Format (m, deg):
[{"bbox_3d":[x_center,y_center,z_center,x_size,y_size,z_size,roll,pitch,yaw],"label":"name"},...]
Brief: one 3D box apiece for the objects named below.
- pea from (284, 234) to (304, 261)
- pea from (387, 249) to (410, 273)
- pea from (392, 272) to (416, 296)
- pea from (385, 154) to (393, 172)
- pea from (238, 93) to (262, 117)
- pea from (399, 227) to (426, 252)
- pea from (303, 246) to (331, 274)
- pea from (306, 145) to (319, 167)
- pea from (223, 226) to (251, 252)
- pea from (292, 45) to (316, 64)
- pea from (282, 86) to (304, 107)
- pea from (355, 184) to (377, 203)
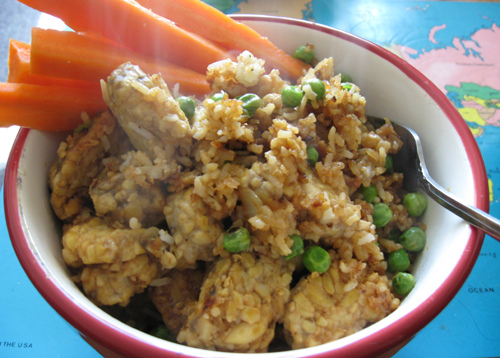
[{"bbox_3d":[0.228,0.350,2.556,0.092,0.039,0.117,22,96,-6],"label":"pea"},{"bbox_3d":[0.773,0.429,2.628,0.090,0.122,0.094,3,101,1],"label":"pea"},{"bbox_3d":[0.780,0.537,2.568,0.143,0.111,0.114,-3,80,-12],"label":"pea"},{"bbox_3d":[0.779,-0.092,2.814,0.060,0.029,0.080,-9,105,-24],"label":"pea"},{"bbox_3d":[0.006,-0.395,2.606,0.097,0.047,0.120,3,65,9],"label":"pea"},{"bbox_3d":[0.863,0.331,2.699,0.137,0.141,0.070,-1,95,19],"label":"pea"},{"bbox_3d":[0.343,0.408,2.557,0.112,0.071,0.135,-10,71,9],"label":"pea"},{"bbox_3d":[0.323,-0.120,2.605,0.065,0.068,0.087,-17,115,16],"label":"pea"},{"bbox_3d":[-0.063,0.300,2.490,0.117,0.067,0.121,-26,57,-6],"label":"pea"},{"bbox_3d":[0.321,-0.736,3.014,0.107,0.124,0.094,-6,105,12],"label":"pea"},{"bbox_3d":[0.215,-0.426,2.609,0.099,0.108,0.101,11,99,39],"label":"pea"},{"bbox_3d":[0.635,0.075,2.721,0.081,0.061,0.108,-7,89,16],"label":"pea"}]
